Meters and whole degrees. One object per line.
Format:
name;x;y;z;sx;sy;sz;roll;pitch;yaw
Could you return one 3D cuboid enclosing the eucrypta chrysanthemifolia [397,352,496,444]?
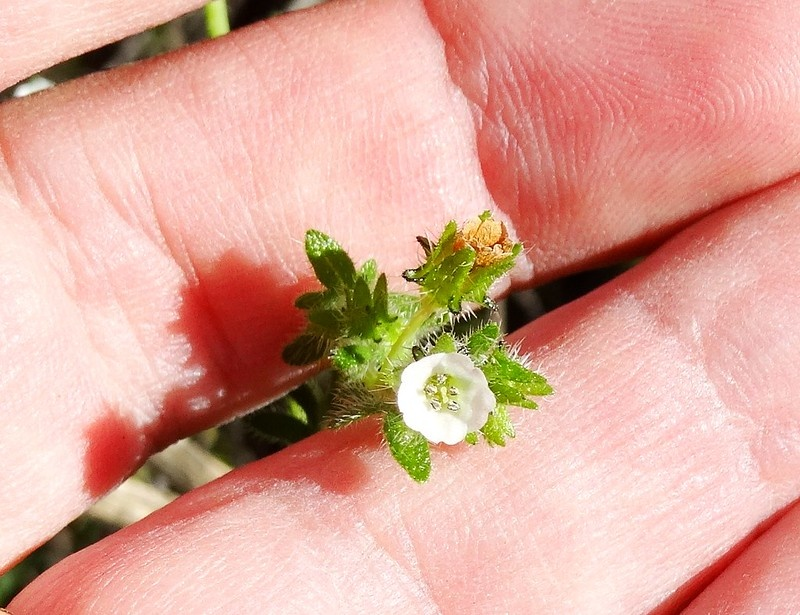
eucrypta chrysanthemifolia;0.198;0.395;3.609;0.397;0.284;0.334;-5;69;4
